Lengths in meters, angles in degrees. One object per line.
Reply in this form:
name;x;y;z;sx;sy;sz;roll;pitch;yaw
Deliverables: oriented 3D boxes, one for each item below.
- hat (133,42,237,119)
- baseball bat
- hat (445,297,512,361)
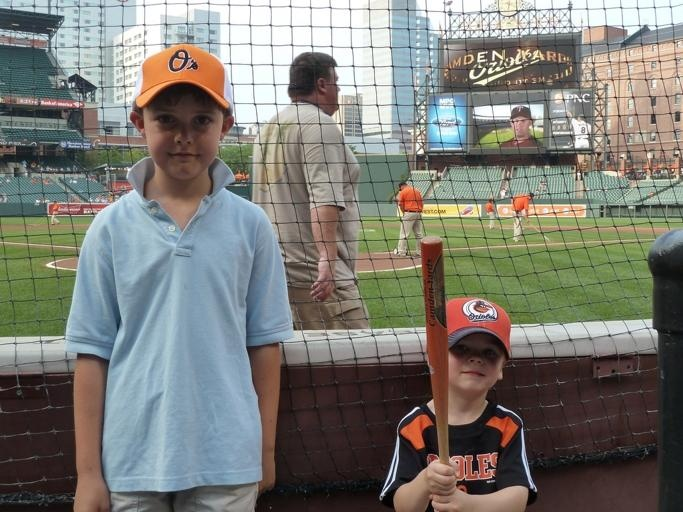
hat;-0.553;-0.621;2.507;0.346;0.205;0.389;2;6;15
baseball bat;0.330;0.333;2.441;0.068;0.808;0.119;-3;6;7
hat;0.536;0.246;2.830;0.273;0.195;0.359;-1;4;-3
